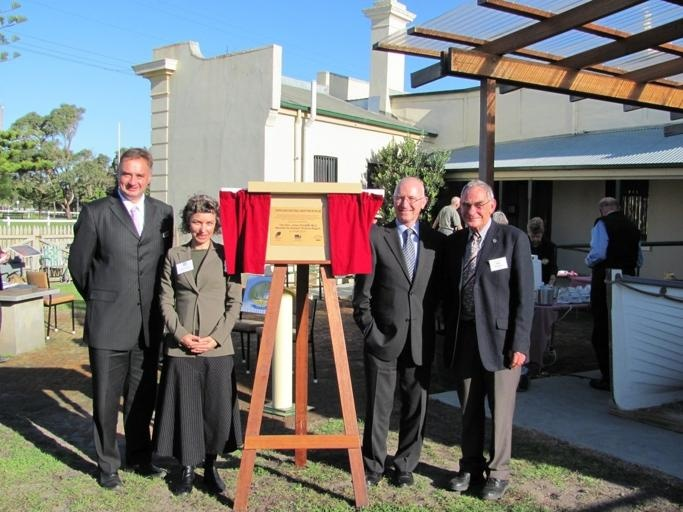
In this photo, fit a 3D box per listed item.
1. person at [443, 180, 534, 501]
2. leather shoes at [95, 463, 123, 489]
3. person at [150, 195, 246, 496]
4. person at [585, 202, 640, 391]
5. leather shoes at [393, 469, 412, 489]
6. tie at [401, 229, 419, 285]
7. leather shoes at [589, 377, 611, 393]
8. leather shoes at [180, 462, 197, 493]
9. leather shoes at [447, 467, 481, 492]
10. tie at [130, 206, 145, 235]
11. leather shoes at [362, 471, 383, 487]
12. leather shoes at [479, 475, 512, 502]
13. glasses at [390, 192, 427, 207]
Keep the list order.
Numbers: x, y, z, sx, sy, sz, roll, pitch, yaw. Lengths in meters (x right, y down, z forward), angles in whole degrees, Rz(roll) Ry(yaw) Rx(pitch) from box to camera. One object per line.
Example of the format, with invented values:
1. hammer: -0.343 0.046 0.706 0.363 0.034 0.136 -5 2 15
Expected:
1. person: 1.207 0.672 4.843 0.752 2.627 0.526 4 6 20
2. leather shoes: -1.975 1.852 4.832 0.287 0.224 0.115 -9 -11 44
3. person: -1.218 0.717 4.850 0.729 2.453 0.564 1 6 -10
4. person: 3.467 0.437 7.433 0.568 2.412 0.929 6 7 34
5. leather shoes: 0.523 1.899 4.915 0.187 0.114 0.154 4 7 15
6. tie: 0.580 -0.027 4.904 0.139 0.425 0.108 2 6 6
7. leather shoes: 3.283 1.607 7.260 0.180 0.123 0.339 0 7 -18
8. leather shoes: -1.314 1.848 4.841 0.119 0.204 0.270 0 7 -15
9. leather shoes: 1.063 1.906 4.922 0.338 0.162 0.124 6 -8 -40
10. tie: -1.797 -0.318 5.012 0.126 0.240 0.051 -1 -3 -43
11. leather shoes: 0.245 1.876 4.822 0.135 0.157 0.362 -2 -14 18
12. leather shoes: 1.270 1.915 4.730 0.225 0.157 0.134 2 6 2
13. glasses: 0.579 -0.483 4.857 0.272 0.096 0.210 3 7 4
